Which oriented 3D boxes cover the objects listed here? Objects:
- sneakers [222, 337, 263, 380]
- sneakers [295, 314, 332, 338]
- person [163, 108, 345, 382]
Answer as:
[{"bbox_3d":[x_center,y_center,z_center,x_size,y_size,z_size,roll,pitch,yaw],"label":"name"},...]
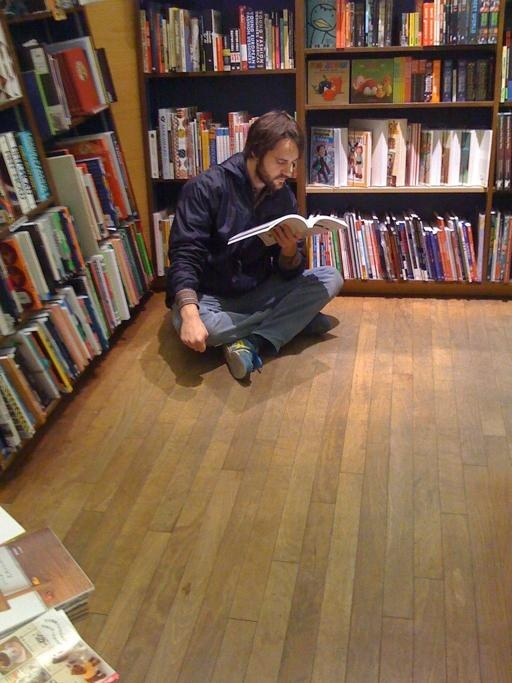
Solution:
[{"bbox_3d":[-0.032,0.065,1.923,0.173,0.120,0.194,-13,27,-17],"label":"sneakers"},{"bbox_3d":[0.277,-0.072,2.211,0.120,0.042,0.121,-32,7,9],"label":"sneakers"},{"bbox_3d":[-0.058,-0.450,1.985,0.788,0.985,0.661,-19,35,-40],"label":"person"}]
